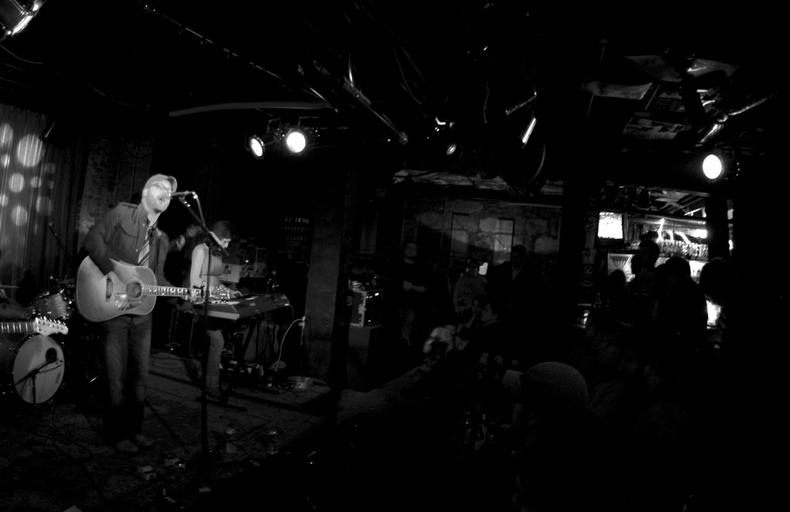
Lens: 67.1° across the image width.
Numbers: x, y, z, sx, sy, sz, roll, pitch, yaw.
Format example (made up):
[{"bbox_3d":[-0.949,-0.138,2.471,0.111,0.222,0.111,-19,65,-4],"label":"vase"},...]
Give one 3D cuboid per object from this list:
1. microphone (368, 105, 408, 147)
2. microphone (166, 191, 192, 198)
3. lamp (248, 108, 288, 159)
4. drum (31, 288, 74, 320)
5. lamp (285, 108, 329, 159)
[{"bbox_3d":[-0.144,-2.132,9.702,0.281,0.156,1.827,5,-2,17],"label":"microphone"},{"bbox_3d":[-2.338,-0.664,6.441,0.341,0.086,0.088,5,5,38],"label":"microphone"},{"bbox_3d":[-1.889,-1.829,9.090,0.436,0.639,0.612,27,-33,34],"label":"lamp"},{"bbox_3d":[-4.246,0.594,7.476,0.404,0.356,0.373,-2,-14,29],"label":"drum"},{"bbox_3d":[-1.245,-1.665,8.705,0.539,0.643,0.154,-3,-36,8],"label":"lamp"}]
